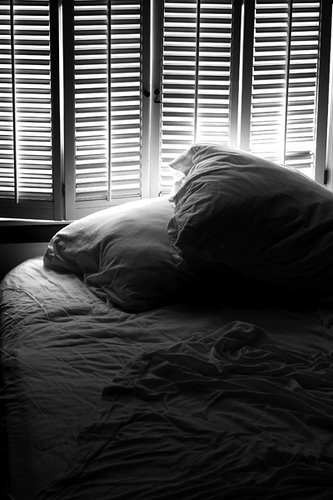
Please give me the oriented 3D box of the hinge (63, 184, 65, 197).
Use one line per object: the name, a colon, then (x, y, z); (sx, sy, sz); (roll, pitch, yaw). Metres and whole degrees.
hinge: (-0.413, -0.238, 1.965); (0.012, 0.050, 0.006); (4, 14, 30)
